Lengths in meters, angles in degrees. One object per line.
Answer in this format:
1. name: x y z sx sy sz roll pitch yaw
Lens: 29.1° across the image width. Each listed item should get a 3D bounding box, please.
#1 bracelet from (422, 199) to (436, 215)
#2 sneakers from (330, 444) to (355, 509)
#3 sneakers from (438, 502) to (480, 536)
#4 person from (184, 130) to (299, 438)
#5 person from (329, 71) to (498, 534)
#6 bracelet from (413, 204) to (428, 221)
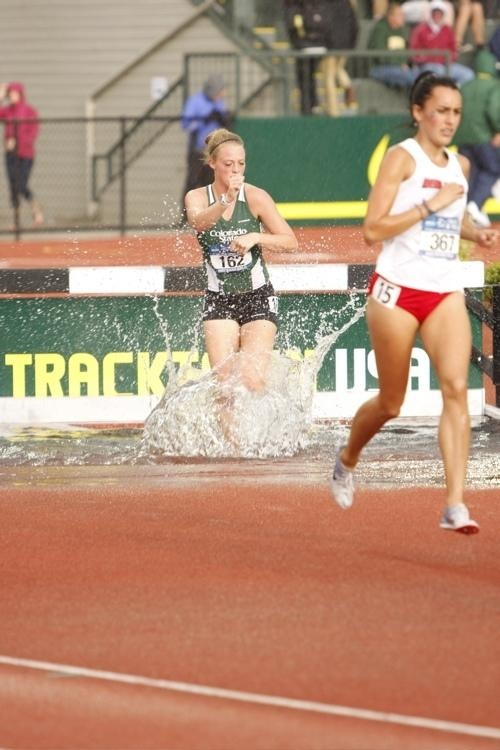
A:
1. bracelet: 0.581 -0.550 3.156 0.010 0.041 0.041 -20 -6 -2
2. sneakers: 0.360 0.395 3.723 0.080 0.232 0.099 -2 1 6
3. sneakers: 0.618 0.426 2.821 0.084 0.090 0.134 -1 4 -9
4. person: -0.029 -0.442 4.949 0.554 1.592 0.569 -4 4 -41
5. person: 0.587 -0.258 3.224 0.412 1.606 1.013 -1 4 -9
6. bracelet: 0.565 -0.530 3.156 0.049 0.046 0.048 -2 -3 -10
